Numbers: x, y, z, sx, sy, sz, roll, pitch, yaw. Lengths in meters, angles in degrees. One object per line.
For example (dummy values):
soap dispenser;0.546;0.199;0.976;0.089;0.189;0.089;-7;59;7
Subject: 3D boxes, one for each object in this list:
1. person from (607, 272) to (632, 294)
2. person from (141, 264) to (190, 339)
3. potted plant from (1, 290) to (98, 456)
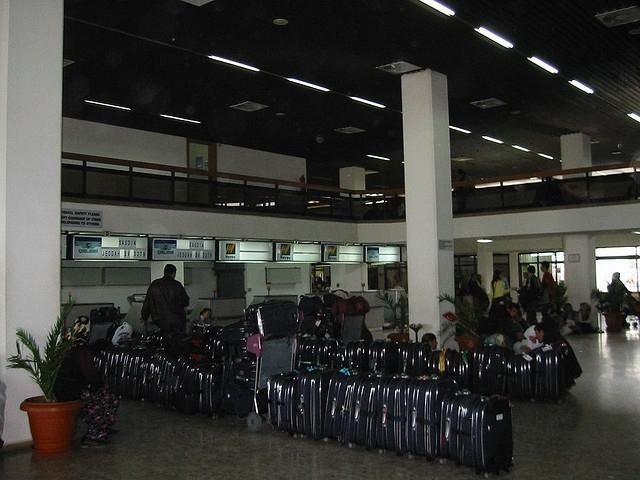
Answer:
person;10.016;1.434;17.000;0.586;0.726;1.162;-4;-7;37
person;-3.214;1.606;10.568;0.952;2.074;0.645;1;13;-10
potted plant;-3.507;1.714;6.487;0.918;1.892;0.785;2;-6;-26
